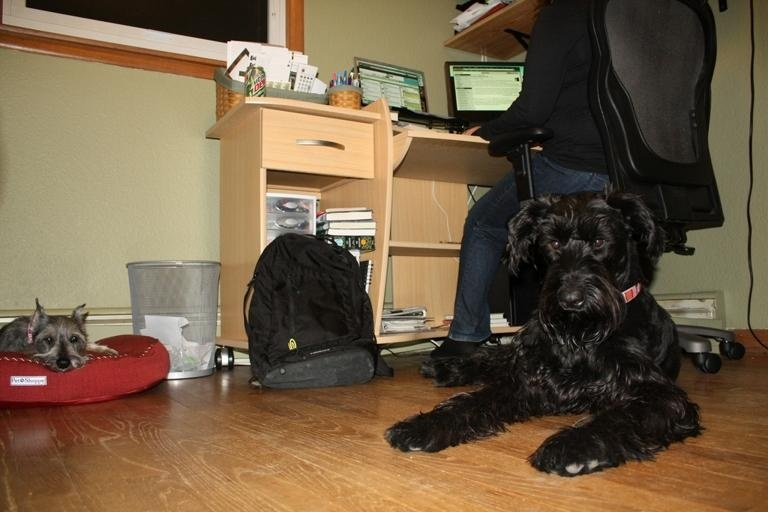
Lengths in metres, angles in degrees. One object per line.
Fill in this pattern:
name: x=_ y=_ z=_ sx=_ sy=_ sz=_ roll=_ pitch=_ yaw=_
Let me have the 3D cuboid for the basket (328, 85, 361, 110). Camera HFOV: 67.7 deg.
basket: x=-0.195 y=-0.795 z=2.908 sx=0.168 sy=0.091 sz=0.151 roll=1 pitch=3 yaw=-17

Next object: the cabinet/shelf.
cabinet/shelf: x=-0.494 y=-0.178 z=2.990 sx=0.922 sy=1.064 sz=0.867 roll=3 pitch=-4 yaw=-17

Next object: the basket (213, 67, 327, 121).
basket: x=-0.593 y=-0.804 z=2.905 sx=0.443 sy=0.155 sz=0.317 roll=3 pitch=10 yaw=-32

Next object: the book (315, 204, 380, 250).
book: x=-0.156 y=-0.132 z=2.792 sx=0.230 sy=0.158 sz=0.263 roll=0 pitch=4 yaw=-13

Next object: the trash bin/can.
trash bin/can: x=-0.904 y=0.286 z=2.856 sx=0.548 sy=0.567 sz=0.510 roll=0 pitch=2 yaw=-8

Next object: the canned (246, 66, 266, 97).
canned: x=-0.605 y=-0.828 z=2.706 sx=0.091 sy=0.177 sz=0.239 roll=-4 pitch=10 yaw=-14

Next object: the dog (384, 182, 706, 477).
dog: x=0.585 y=0.152 z=1.834 sx=0.988 sy=0.499 sz=0.820 roll=-7 pitch=7 yaw=-43

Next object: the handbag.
handbag: x=-0.305 y=0.238 z=2.488 sx=0.624 sy=0.541 sz=0.349 roll=8 pitch=-22 yaw=-33
